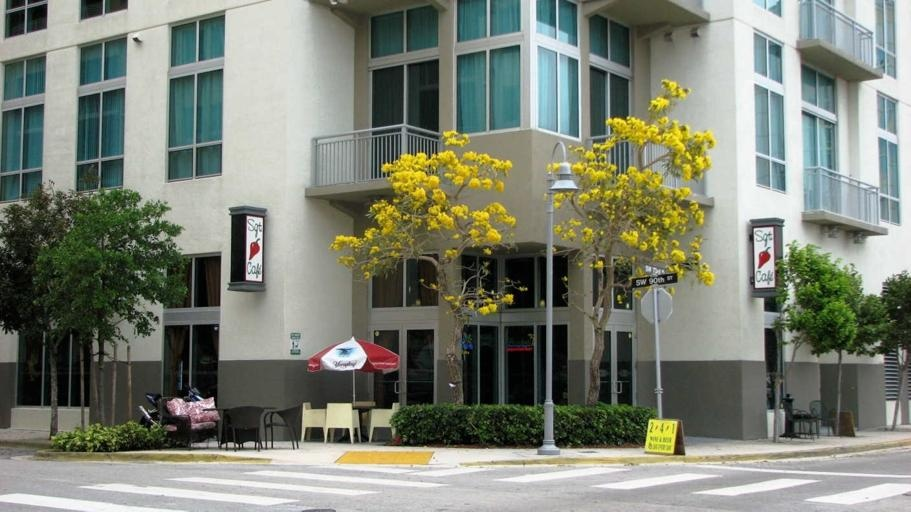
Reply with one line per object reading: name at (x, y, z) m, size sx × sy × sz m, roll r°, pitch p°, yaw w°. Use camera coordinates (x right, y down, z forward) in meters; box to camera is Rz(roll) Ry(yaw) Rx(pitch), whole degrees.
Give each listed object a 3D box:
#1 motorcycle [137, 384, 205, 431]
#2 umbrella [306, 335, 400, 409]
motorcycle at (-9.258, 5.028, 33.845) m, size 1.946 × 1.138 × 0.984 m, roll -17°, pitch -22°, yaw 9°
umbrella at (-3.617, 4.134, 35.409) m, size 2.945 × 1.914 × 2.638 m, roll 1°, pitch -2°, yaw -21°
